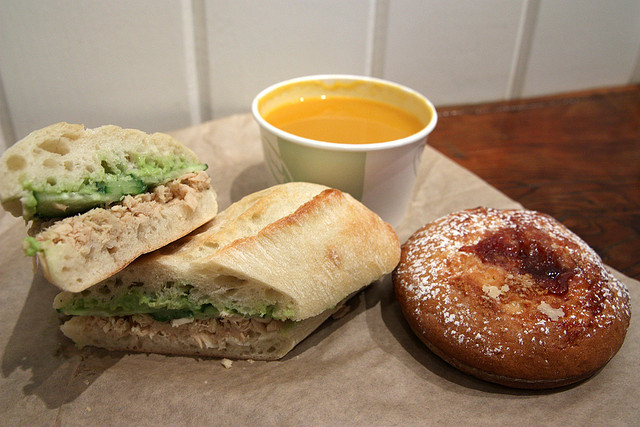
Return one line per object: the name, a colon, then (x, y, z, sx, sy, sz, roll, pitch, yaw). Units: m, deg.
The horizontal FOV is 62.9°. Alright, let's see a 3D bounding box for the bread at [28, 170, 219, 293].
bread: (-0.678, 0.023, 1.639, 0.370, 0.186, 0.672, 6, 19, 28)
